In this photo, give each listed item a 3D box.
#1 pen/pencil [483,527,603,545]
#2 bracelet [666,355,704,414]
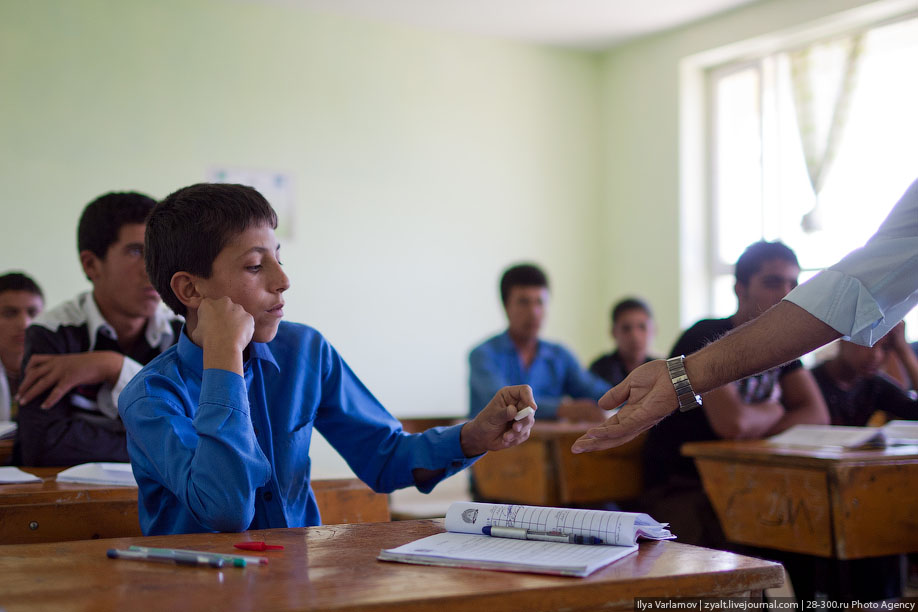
[{"bbox_3d":[0.153,0.391,1.339,0.205,0.023,0.023,0,44,18],"label":"pen/pencil"},{"bbox_3d":[0.459,0.160,1.607,0.064,0.111,0.111,-16,7,-3],"label":"bracelet"}]
